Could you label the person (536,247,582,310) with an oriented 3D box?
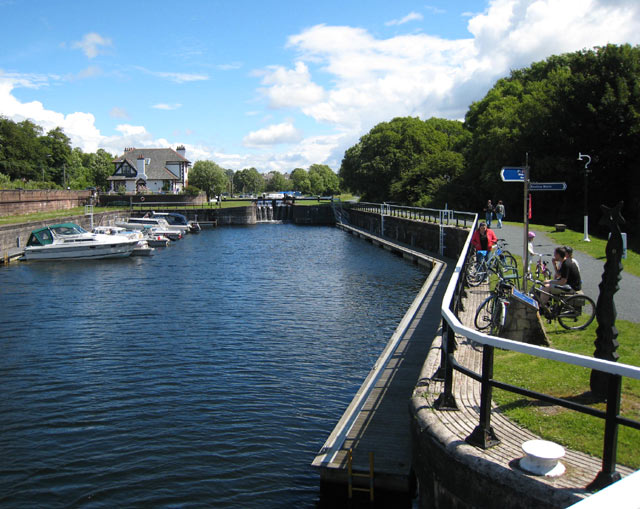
[{"bbox_3d":[6.359,0.562,14.465,0.998,1.577,0.597,1,8,6],"label":"person"}]
